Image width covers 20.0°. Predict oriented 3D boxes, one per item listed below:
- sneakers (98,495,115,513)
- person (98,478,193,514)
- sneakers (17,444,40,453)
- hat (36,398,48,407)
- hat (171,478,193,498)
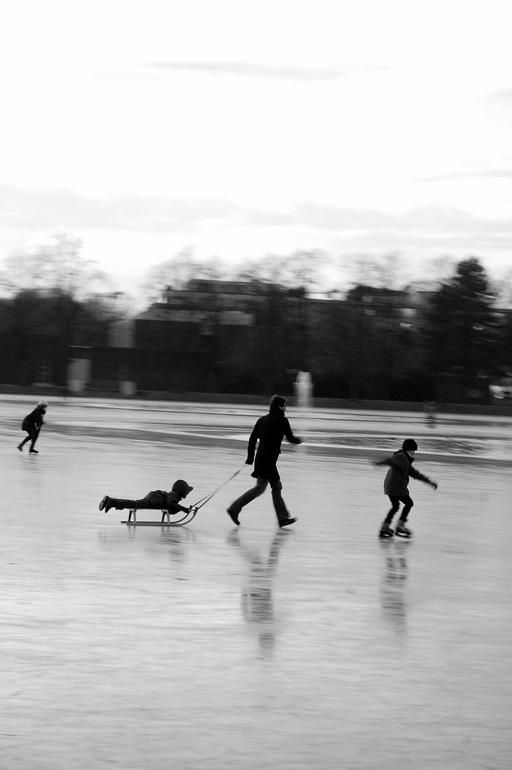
[{"bbox_3d":[-1.473,1.195,14.411,0.154,0.168,0.260,1,1,-18],"label":"sneakers"},{"bbox_3d":[-1.121,1.148,14.612,0.890,0.377,0.405,2,-2,-20],"label":"person"},{"bbox_3d":[-4.134,1.174,26.235,0.311,0.214,0.106,7,9,3],"label":"sneakers"},{"bbox_3d":[-5.138,0.440,34.772,0.194,0.216,0.243,6,13,22],"label":"hat"},{"bbox_3d":[-0.741,1.050,14.665,0.182,0.221,0.243,18,5,27],"label":"hat"}]
